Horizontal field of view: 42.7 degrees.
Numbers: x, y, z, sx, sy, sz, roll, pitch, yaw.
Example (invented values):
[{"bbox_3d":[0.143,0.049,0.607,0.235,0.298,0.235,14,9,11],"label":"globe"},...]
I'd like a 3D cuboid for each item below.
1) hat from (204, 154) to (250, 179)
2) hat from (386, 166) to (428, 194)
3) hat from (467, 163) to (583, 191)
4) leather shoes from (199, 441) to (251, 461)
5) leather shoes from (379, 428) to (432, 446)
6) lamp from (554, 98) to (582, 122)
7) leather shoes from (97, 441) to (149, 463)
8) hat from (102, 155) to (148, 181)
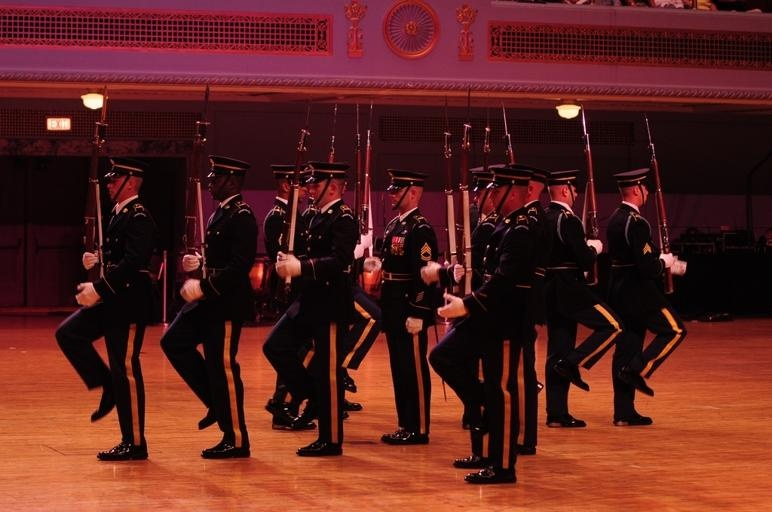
[{"bbox_3d":[-1.267,-0.673,7.471,0.443,0.149,0.337,-2,1,2],"label":"hat"},{"bbox_3d":[0.168,-0.604,7.966,0.447,0.167,0.368,-2,-1,3],"label":"hat"},{"bbox_3d":[1.061,-0.623,7.694,0.593,0.142,0.481,1,0,4],"label":"hat"},{"bbox_3d":[-1.211,1.465,7.457,0.368,0.127,0.133,3,-8,-6],"label":"leather shoes"},{"bbox_3d":[0.155,1.426,7.845,0.280,0.091,0.149,2,-8,-3],"label":"leather shoes"},{"bbox_3d":[2.318,-1.853,12.517,0.293,0.202,0.471,1,2,8],"label":"lamp"},{"bbox_3d":[-1.939,1.460,7.404,0.412,0.143,0.136,3,-7,-1],"label":"leather shoes"},{"bbox_3d":[-2.039,-0.658,7.448,0.429,0.139,0.333,-3,-1,8],"label":"hat"}]
